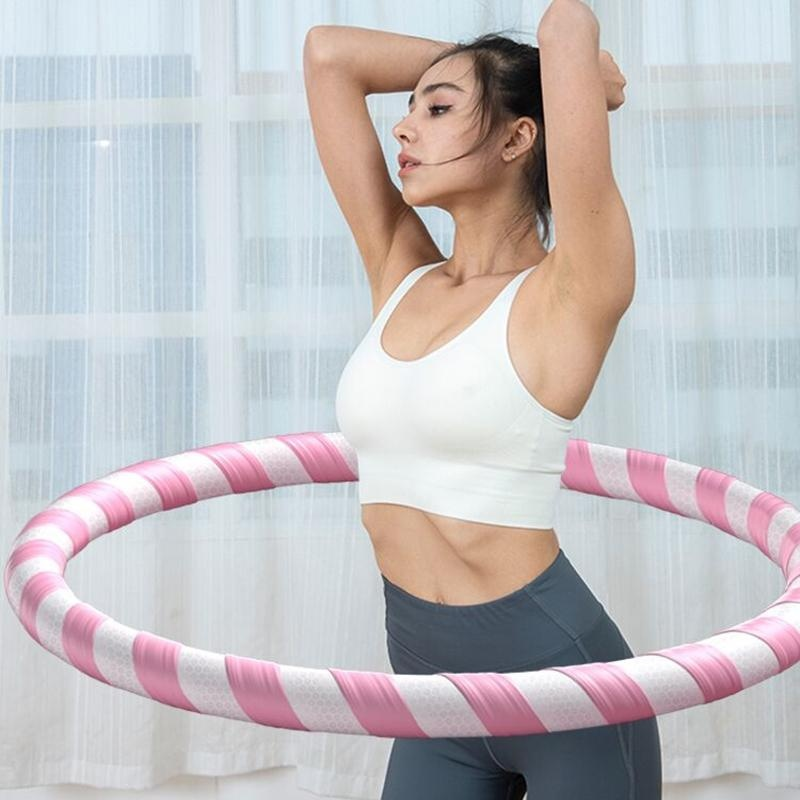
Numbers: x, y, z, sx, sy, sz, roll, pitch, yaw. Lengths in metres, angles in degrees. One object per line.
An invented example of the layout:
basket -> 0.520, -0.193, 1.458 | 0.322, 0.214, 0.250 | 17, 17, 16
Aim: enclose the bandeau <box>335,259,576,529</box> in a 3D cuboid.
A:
bandeau -> 0.106, 0.045, 1.616 | 0.268, 0.240, 0.261 | -10, 92, -11
